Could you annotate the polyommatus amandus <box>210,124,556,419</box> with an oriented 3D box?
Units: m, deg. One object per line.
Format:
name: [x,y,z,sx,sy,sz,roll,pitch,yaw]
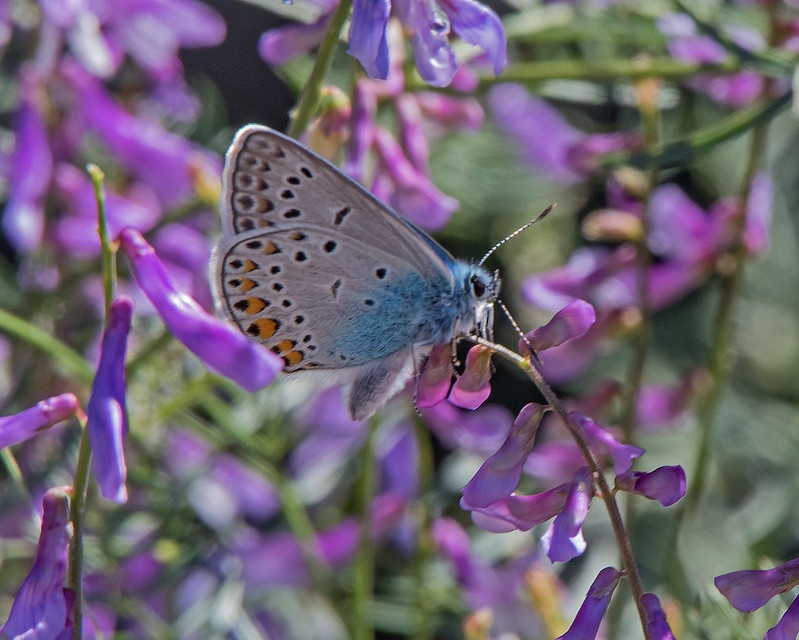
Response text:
polyommatus amandus: [-0.036,-0.063,1.167,0.299,0.344,0.235,-24,72,20]
